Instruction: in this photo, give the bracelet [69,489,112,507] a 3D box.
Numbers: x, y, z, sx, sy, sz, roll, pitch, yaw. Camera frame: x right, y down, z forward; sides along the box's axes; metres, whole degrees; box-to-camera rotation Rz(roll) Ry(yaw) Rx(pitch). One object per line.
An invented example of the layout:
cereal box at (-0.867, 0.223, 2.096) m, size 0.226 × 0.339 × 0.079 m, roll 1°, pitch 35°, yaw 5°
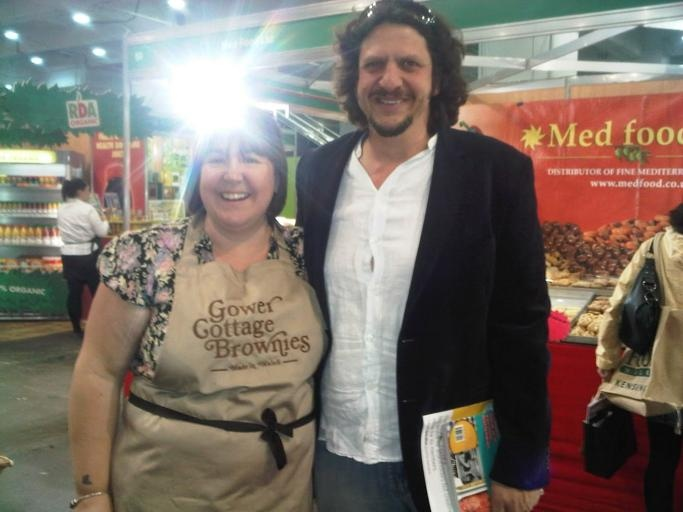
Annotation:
bracelet at (-0.855, 0.812, 1.813) m, size 0.086 × 0.030 × 0.074 m, roll -24°, pitch 5°, yaw -14°
